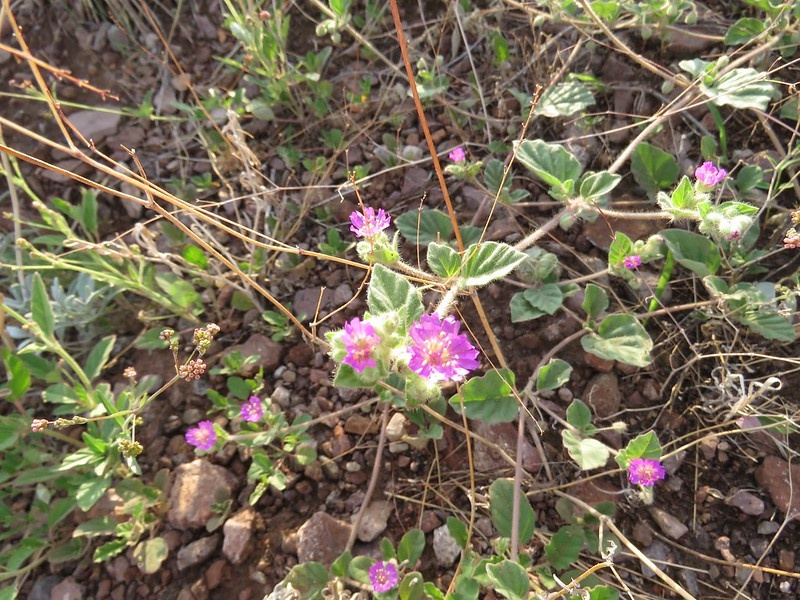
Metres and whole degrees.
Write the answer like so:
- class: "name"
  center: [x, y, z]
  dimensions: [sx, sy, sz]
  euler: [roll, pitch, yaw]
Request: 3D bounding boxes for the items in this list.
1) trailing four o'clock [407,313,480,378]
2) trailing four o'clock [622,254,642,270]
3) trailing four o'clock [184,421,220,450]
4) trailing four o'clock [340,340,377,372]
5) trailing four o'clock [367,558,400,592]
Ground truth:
- class: "trailing four o'clock"
  center: [0.201, 0.282, 3.223]
  dimensions: [0.327, 0.983, 0.303]
  euler: [-3, 81, 0]
- class: "trailing four o'clock"
  center: [1.283, -0.212, 3.424]
  dimensions: [0.100, 0.135, 0.058]
  euler: [-2, 81, 0]
- class: "trailing four o'clock"
  center: [-1.125, 0.778, 3.574]
  dimensions: [0.176, 0.070, 0.176]
  euler: [42, 103, 11]
- class: "trailing four o'clock"
  center: [-0.177, 0.262, 2.734]
  dimensions: [0.147, 0.144, 0.118]
  euler: [19, 82, 3]
- class: "trailing four o'clock"
  center: [-0.085, 1.395, 3.078]
  dimensions: [0.144, 0.040, 0.147]
  euler: [-5, 83, -1]
